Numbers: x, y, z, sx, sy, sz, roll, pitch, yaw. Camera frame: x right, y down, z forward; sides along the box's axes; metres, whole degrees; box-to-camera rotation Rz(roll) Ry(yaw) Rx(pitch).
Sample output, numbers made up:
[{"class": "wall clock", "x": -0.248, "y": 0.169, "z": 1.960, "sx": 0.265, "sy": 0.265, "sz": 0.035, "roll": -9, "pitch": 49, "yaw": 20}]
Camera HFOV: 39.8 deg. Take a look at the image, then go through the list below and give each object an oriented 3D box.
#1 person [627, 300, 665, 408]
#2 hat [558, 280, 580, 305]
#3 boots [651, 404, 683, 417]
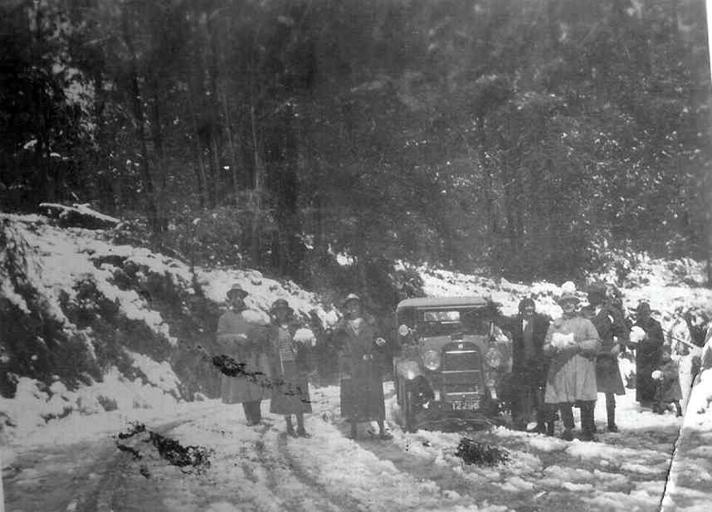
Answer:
[{"class": "person", "x": 2.099, "y": 0.713, "z": 7.059, "sx": 0.286, "sy": 0.750, "sz": 0.084, "roll": 1, "pitch": -5, "yaw": -39}, {"class": "hat", "x": 1.480, "y": 0.265, "z": 6.965, "sx": 0.142, "sy": 0.152, "sz": 0.154, "roll": 3, "pitch": -20, "yaw": -7}, {"class": "boots", "x": 2.265, "y": 1.125, "z": 7.170, "sx": 0.214, "sy": 0.079, "sz": 0.113, "roll": 2, "pitch": 3, "yaw": -17}]
